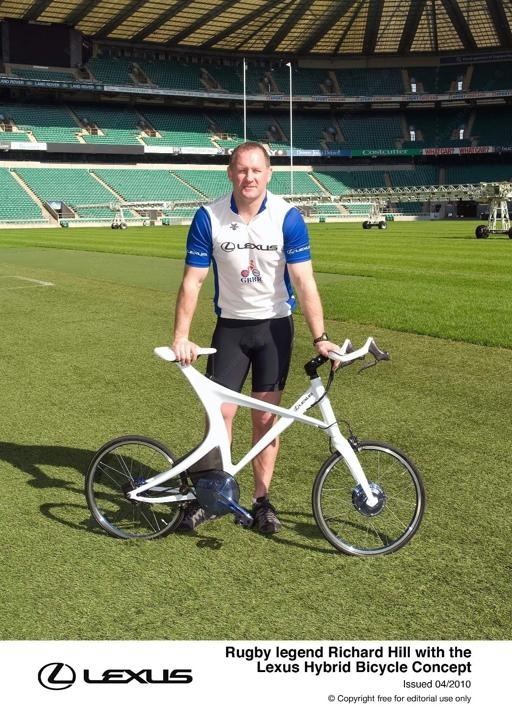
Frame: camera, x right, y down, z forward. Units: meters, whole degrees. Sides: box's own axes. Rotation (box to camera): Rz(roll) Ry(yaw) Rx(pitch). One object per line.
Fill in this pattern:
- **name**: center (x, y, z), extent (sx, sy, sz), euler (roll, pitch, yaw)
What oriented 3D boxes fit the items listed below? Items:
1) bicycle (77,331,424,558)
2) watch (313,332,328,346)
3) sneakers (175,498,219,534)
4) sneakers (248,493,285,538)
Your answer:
- **bicycle**: center (-0.134, 0.431, 3.191), extent (1.988, 1.130, 0.779), euler (-1, -1, 4)
- **watch**: center (0.298, -0.095, 2.784), extent (0.070, 0.040, 0.069), euler (7, -19, -35)
- **sneakers**: center (-0.287, 0.749, 3.035), extent (0.234, 0.073, 0.173), euler (-28, 3, -44)
- **sneakers**: center (0.051, 0.758, 2.946), extent (0.104, 0.097, 0.222), euler (-6, 0, -14)
